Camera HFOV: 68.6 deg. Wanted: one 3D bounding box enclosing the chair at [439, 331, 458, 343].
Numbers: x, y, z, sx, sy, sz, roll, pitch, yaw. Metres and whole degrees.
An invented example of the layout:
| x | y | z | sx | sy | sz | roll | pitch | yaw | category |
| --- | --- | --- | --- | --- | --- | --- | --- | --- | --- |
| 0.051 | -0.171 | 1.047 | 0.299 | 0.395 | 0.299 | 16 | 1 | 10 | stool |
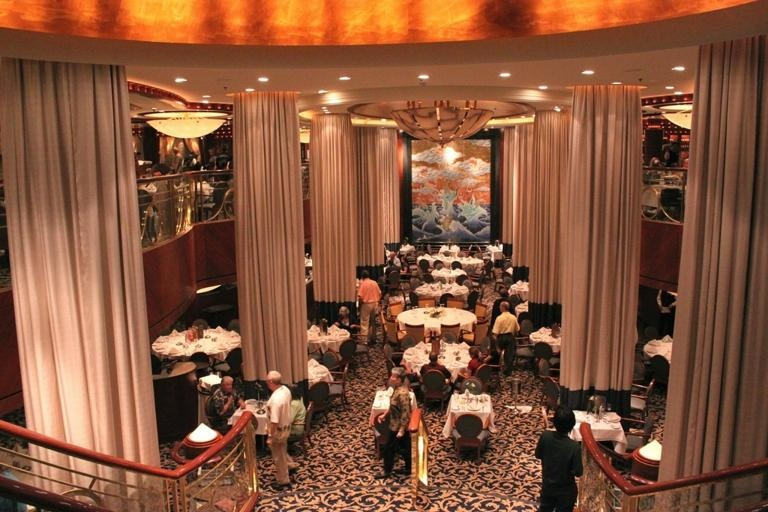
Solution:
| x | y | z | sx | sy | sz | roll | pitch | yaw | category |
| --- | --- | --- | --- | --- | --- | --- | --- | --- | --- |
| 1.392 | 1.721 | 11.852 | 0.307 | 0.179 | 0.276 | 1 | -1 | 9 | chair |

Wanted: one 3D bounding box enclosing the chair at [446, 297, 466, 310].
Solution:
| x | y | z | sx | sy | sz | roll | pitch | yaw | category |
| --- | --- | --- | --- | --- | --- | --- | --- | --- | --- |
| 1.895 | 1.251 | 14.773 | 0.347 | 0.411 | 0.370 | 0 | -3 | 9 | chair |

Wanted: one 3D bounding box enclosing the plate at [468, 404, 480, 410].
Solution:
| x | y | z | sx | sy | sz | roll | pitch | yaw | category |
| --- | --- | --- | --- | --- | --- | --- | --- | --- | --- |
| 1.472 | 2.492 | 9.129 | 0.153 | 0.035 | 0.184 | 8 | 17 | 34 | plate |

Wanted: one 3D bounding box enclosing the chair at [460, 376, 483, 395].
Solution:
| x | y | z | sx | sy | sz | roll | pitch | yaw | category |
| --- | --- | --- | --- | --- | --- | --- | --- | --- | --- |
| 1.493 | 2.201 | 9.622 | 0.345 | 0.232 | 0.516 | -1 | 14 | 4 | chair |

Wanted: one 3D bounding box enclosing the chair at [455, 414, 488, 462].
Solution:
| x | y | z | sx | sy | sz | roll | pitch | yaw | category |
| --- | --- | --- | --- | --- | --- | --- | --- | --- | --- |
| 1.369 | 2.818 | 8.904 | 0.543 | 0.843 | 0.407 | -1 | 17 | 6 | chair |

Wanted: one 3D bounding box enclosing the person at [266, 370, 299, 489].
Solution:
| x | y | z | sx | sy | sz | roll | pitch | yaw | category |
| --- | --- | --- | --- | --- | --- | --- | --- | --- | --- |
| -1.529 | 2.521 | 8.258 | 0.388 | 1.776 | 0.535 | -6 | 18 | -9 | person |

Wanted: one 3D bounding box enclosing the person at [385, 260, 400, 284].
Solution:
| x | y | z | sx | sy | sz | roll | pitch | yaw | category |
| --- | --- | --- | --- | --- | --- | --- | --- | --- | --- |
| 0.244 | 0.557 | 18.304 | 0.671 | 0.722 | 0.612 | 1 | 26 | 1 | person |

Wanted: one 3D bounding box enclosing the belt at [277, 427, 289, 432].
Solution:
| x | y | z | sx | sy | sz | roll | pitch | yaw | category |
| --- | --- | --- | --- | --- | --- | --- | --- | --- | --- |
| -1.489 | 2.531 | 8.176 | 0.120 | 0.023 | 0.101 | 0 | 1 | -11 | belt |

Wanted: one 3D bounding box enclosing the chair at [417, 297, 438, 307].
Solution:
| x | y | z | sx | sy | sz | roll | pitch | yaw | category |
| --- | --- | --- | --- | --- | --- | --- | --- | --- | --- |
| 1.140 | 1.214 | 14.691 | 0.319 | 0.327 | 0.260 | 3 | 7 | 22 | chair |

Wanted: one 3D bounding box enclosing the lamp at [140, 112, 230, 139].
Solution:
| x | y | z | sx | sy | sz | roll | pitch | yaw | category |
| --- | --- | --- | --- | --- | --- | --- | --- | --- | --- |
| -3.577 | -2.402 | 10.159 | 1.385 | 0.467 | 0.786 | -6 | 15 | -15 | lamp |

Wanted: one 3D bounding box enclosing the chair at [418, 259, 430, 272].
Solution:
| x | y | z | sx | sy | sz | roll | pitch | yaw | category |
| --- | --- | --- | --- | --- | --- | --- | --- | --- | --- |
| 1.341 | 0.316 | 18.849 | 0.307 | 0.406 | 0.267 | 1 | -6 | -4 | chair |

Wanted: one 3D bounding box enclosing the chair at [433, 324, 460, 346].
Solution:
| x | y | z | sx | sy | sz | roll | pitch | yaw | category |
| --- | --- | --- | --- | --- | --- | --- | --- | --- | --- |
| 1.324 | 1.689 | 12.044 | 0.462 | 0.527 | 0.436 | 1 | -2 | 5 | chair |

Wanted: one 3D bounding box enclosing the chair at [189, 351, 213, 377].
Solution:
| x | y | z | sx | sy | sz | roll | pitch | yaw | category |
| --- | --- | --- | --- | --- | --- | --- | --- | --- | --- |
| -3.396 | 2.055 | 10.637 | 0.458 | 0.545 | 0.447 | 0 | -1 | -16 | chair |

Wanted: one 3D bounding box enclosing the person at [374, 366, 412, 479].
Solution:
| x | y | z | sx | sy | sz | roll | pitch | yaw | category |
| --- | --- | --- | --- | --- | --- | --- | --- | --- | --- |
| 0.168 | 2.511 | 8.478 | 0.545 | 1.705 | 0.694 | -3 | 17 | 1 | person |

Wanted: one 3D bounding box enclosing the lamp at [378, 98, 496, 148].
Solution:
| x | y | z | sx | sy | sz | roll | pitch | yaw | category |
| --- | --- | --- | --- | --- | --- | --- | --- | --- | --- |
| 1.294 | -3.213 | 13.582 | 3.020 | 1.211 | 2.708 | 2 | 10 | 9 | lamp |

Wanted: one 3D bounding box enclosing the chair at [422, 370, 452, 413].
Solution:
| x | y | z | sx | sy | sz | roll | pitch | yaw | category |
| --- | --- | --- | --- | --- | --- | --- | --- | --- | --- |
| 0.968 | 2.456 | 10.424 | 0.547 | 0.921 | 0.481 | -2 | 17 | 5 | chair |

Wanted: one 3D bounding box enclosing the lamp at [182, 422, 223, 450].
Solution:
| x | y | z | sx | sy | sz | roll | pitch | yaw | category |
| --- | --- | --- | --- | --- | --- | --- | --- | --- | --- |
| -2.565 | 2.568 | 8.006 | 0.383 | 0.176 | 0.342 | 0 | 0 | 0 | lamp |

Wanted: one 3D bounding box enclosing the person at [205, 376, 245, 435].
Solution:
| x | y | z | sx | sy | sz | roll | pitch | yaw | category |
| --- | --- | --- | --- | --- | --- | --- | --- | --- | --- |
| -2.516 | 2.469 | 9.107 | 0.663 | 0.909 | 0.545 | -8 | 2 | 18 | person |
